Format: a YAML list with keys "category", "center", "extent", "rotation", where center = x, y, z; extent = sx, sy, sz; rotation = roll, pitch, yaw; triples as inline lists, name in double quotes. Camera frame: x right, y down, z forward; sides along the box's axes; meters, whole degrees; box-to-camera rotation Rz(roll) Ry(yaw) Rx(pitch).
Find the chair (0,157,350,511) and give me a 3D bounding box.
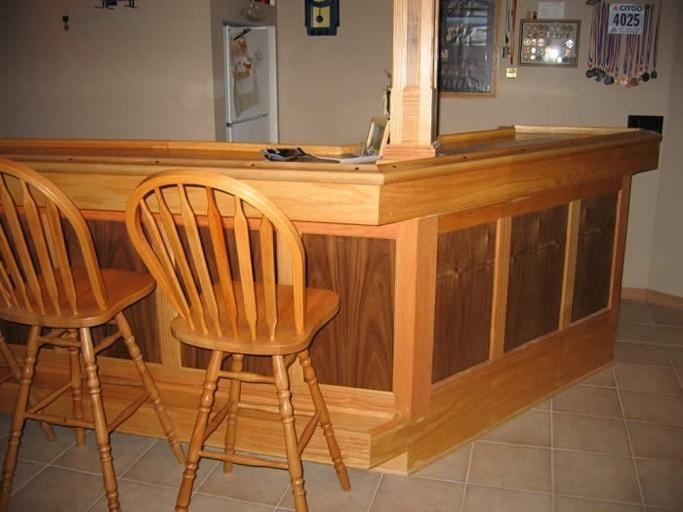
- category: "chair"
  center: [-0.602, 0.293, 2.011]
  extent: [1.162, 1.332, 0.585]
  rotation: [7, 19, 10]
